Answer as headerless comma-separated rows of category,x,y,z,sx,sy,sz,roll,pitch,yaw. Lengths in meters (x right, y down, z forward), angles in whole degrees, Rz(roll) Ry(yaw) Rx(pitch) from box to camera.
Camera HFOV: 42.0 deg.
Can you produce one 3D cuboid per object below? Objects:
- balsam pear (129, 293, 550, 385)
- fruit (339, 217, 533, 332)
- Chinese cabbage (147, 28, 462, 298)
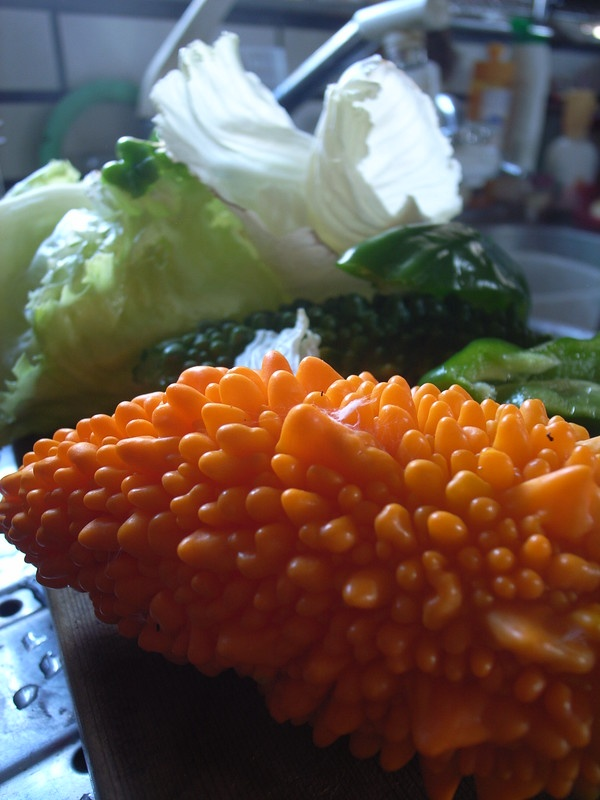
balsam pear,0.010,-0.044,0.522,0.219,0.080,0.069,6,69,3
fruit,0.081,-0.061,0.454,0.079,0.030,0.077,18,5,14
Chinese cabbage,-0.004,-0.169,0.572,0.171,0.082,0.201,-33,40,-7
